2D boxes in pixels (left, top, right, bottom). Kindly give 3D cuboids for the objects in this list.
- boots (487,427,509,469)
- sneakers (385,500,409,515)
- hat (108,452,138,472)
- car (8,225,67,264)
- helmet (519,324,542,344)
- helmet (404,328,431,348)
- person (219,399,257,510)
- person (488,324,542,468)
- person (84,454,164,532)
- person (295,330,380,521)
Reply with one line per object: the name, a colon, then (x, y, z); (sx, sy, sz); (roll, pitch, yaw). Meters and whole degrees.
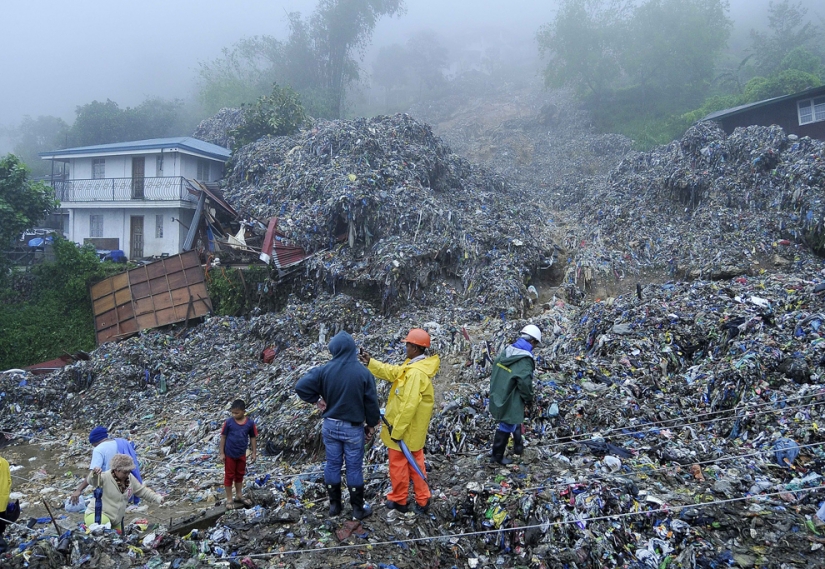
boots: (1.702, 2.987, 11.789); (0.381, 0.709, 0.516); (0, -8, -26)
sneakers: (-0.247, 3.896, 11.243); (0.436, 0.187, 0.173); (6, 2, 16)
hat: (-5.151, 3.116, 11.361); (0.341, 0.332, 0.288); (5, 0, 7)
car: (-14.943, -1.529, 25.330); (1.899, 1.368, 2.771); (-1, 8, -15)
helmet: (2.268, 0.936, 12.044); (0.355, 0.238, 0.464); (21, 6, 29)
helmet: (0.102, 0.938, 11.383); (0.372, 0.199, 0.306); (16, 12, 29)
person: (-3.240, 3.060, 11.816); (0.611, 1.908, 0.706); (-3, 5, -2)
person: (1.886, 2.029, 11.862); (0.867, 2.491, 0.748); (-1, 6, 20)
person: (-5.312, 3.878, 11.724); (0.809, 1.450, 1.127); (0, -19, 36)
person: (-1.212, 2.438, 11.154); (1.295, 3.243, 0.515); (-3, 5, -5)
